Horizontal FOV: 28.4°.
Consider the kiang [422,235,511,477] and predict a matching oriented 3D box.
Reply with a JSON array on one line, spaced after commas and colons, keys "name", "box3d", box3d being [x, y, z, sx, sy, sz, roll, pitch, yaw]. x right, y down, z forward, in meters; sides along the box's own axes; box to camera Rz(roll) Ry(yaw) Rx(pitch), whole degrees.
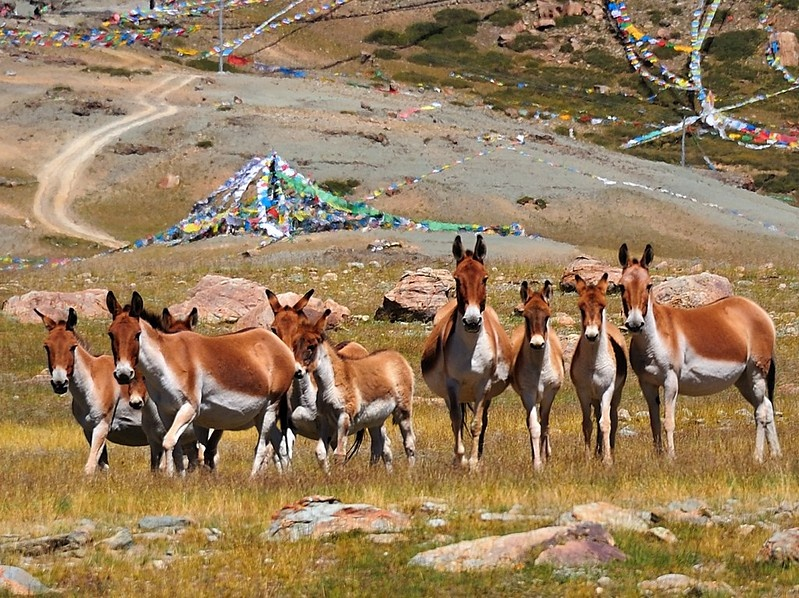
[{"name": "kiang", "box3d": [3.404, 2.295, 69.587, 3.717, 9.634, 4.552, 1, 2, -1]}]

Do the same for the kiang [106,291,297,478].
[{"name": "kiang", "box3d": [-8.770, 3.981, 68.299, 9.654, 7.543, 3.353, 9, -9, -44]}]

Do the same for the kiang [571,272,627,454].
[{"name": "kiang", "box3d": [8.646, 2.821, 69.050, 2.392, 6.214, 7.511, 1, 3, 3]}]

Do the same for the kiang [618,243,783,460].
[{"name": "kiang", "box3d": [13.092, 2.138, 69.092, 6.577, 9.280, 1.659, -2, 4, -8]}]
